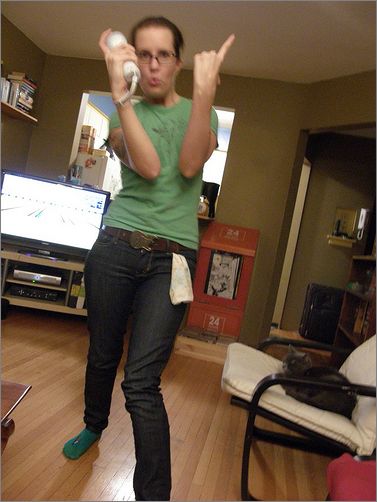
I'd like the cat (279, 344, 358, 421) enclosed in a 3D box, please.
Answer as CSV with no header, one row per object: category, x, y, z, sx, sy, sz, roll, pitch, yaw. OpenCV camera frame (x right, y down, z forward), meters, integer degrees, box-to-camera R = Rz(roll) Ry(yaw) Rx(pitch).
cat,0.616,0.583,1.515,0.350,0.175,0.125,11,21,40
